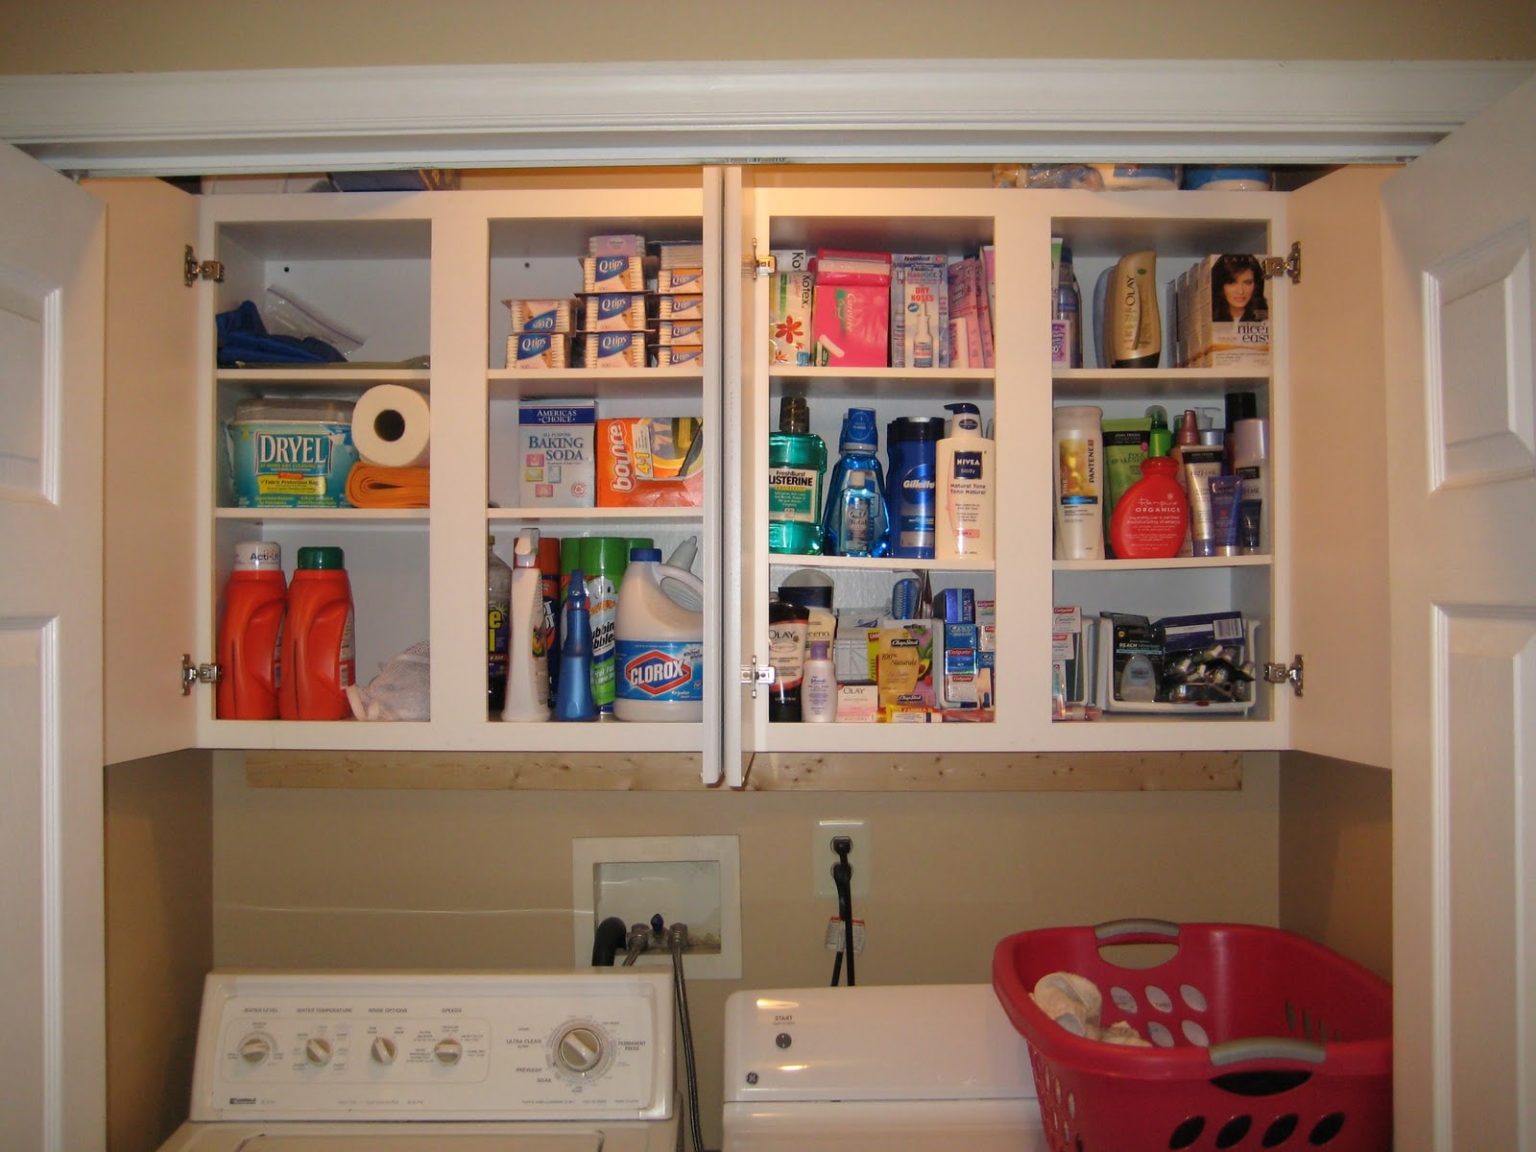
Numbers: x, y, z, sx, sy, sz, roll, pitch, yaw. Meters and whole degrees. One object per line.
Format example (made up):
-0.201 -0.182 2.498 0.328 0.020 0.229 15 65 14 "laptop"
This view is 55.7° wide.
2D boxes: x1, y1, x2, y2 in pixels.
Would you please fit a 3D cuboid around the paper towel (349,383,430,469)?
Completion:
-0.617 -0.242 2.390 0.134 0.134 0.085 2 0 3 "paper towel"

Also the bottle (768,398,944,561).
0.149 -0.150 2.449 0.286 0.247 0.111 0 1 -11 "bottle"

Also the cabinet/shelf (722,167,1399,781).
0.392 -0.223 2.639 1.204 1.125 0.881 0 -4 2 "cabinet/shelf"

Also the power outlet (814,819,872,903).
0.132 0.513 2.604 0.146 0.197 0.020 1 -9 -3 "power outlet"

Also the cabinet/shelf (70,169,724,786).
-0.589 -0.281 2.699 1.243 1.178 0.919 0 -4 -6 "cabinet/shelf"

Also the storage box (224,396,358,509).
-0.824 -0.207 2.465 0.213 0.187 0.115 -2 7 -38 "storage box"
